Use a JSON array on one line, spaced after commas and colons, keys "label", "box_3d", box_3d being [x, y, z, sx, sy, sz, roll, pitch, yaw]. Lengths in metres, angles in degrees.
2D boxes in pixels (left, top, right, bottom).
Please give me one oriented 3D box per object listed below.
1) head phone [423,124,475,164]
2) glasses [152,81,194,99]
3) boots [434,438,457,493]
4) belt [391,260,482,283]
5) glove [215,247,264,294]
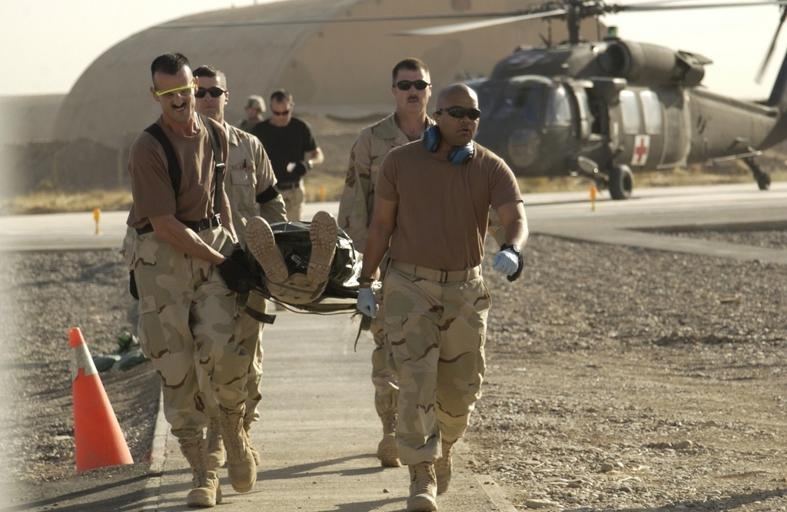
[{"label": "head phone", "box_3d": [0.584, -1.161, 15.454, 0.549, 0.394, 0.189, -3, 15, -1]}, {"label": "glasses", "box_3d": [-2.335, -1.746, 15.585, 0.431, 0.126, 0.119, -6, 15, -11]}, {"label": "boots", "box_3d": [0.567, 2.237, 15.759, 0.193, 0.567, 0.242, 1, 4, 11]}, {"label": "belt", "box_3d": [0.420, 0.166, 15.500, 0.981, 0.227, 0.201, -2, 15, 5]}, {"label": "glove", "box_3d": [-1.643, 0.168, 15.662, 0.508, 0.374, 0.231, 38, -14, 5]}]
